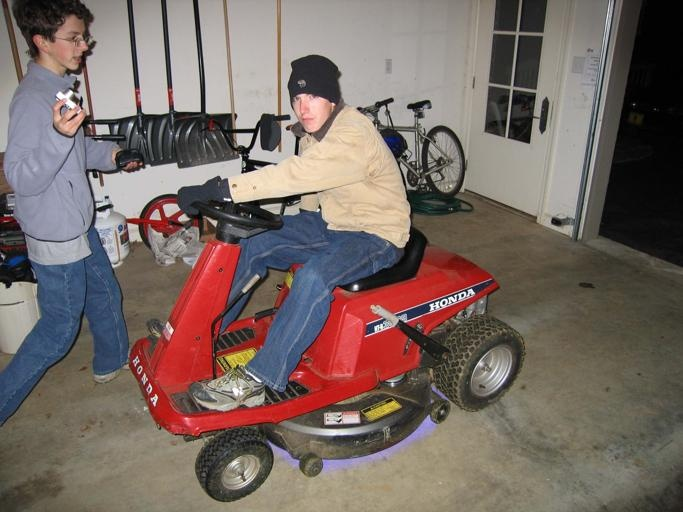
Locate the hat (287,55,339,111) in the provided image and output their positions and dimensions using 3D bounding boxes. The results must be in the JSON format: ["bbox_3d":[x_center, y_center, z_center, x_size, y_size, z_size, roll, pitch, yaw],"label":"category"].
[{"bbox_3d":[-0.161,-1.021,2.885,0.312,0.282,0.244,-5,17,-12],"label":"hat"}]

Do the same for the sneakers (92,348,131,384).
[{"bbox_3d":[-1.637,0.778,3.503,0.109,0.151,0.342,17,33,17],"label":"sneakers"}]

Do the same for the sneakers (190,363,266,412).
[{"bbox_3d":[-0.624,0.687,2.668,0.322,0.182,0.199,2,18,-24],"label":"sneakers"}]

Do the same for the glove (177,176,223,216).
[{"bbox_3d":[-0.748,-0.323,2.669,0.274,0.106,0.198,-20,67,-1],"label":"glove"}]

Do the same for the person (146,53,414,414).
[{"bbox_3d":[-0.235,-0.208,2.929,1.426,1.814,0.682,-14,25,-36],"label":"person"}]

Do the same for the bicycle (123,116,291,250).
[{"bbox_3d":[-0.732,-0.684,4.608,0.936,1.136,1.751,-4,13,16],"label":"bicycle"}]

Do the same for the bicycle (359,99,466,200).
[{"bbox_3d":[0.957,-1.359,6.776,0.824,1.133,1.851,-1,13,44],"label":"bicycle"}]
